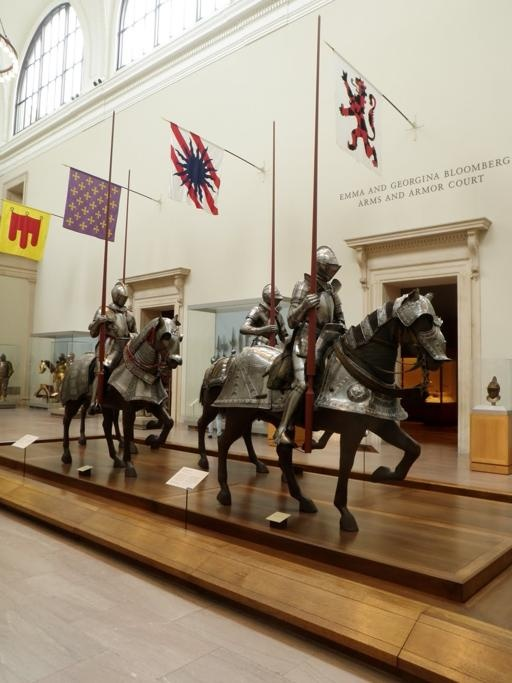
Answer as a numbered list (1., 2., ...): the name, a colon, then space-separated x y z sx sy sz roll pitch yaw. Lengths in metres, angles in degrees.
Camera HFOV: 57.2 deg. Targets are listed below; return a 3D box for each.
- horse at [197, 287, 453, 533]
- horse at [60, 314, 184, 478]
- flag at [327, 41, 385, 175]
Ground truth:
1. horse: 0.456 0.466 2.989 0.524 1.338 1.743 3 -8 -42
2. horse: -1.424 0.554 4.879 1.819 1.603 0.582 -5 -10 36
3. flag: 1.381 -3.393 6.743 0.034 1.369 1.756 -1 -1 43
